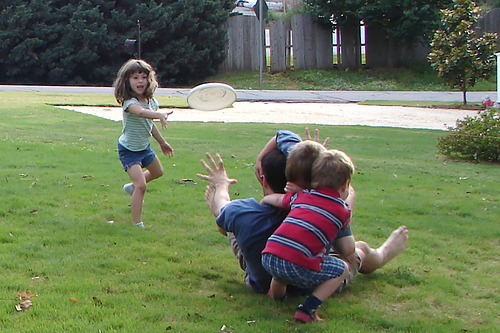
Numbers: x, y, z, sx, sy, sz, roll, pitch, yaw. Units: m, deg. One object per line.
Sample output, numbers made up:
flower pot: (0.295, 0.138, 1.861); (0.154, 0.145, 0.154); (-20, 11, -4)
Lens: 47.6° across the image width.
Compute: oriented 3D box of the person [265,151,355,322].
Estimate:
person: (0.666, 0.722, 6.361); (0.909, 1.788, 1.072); (18, -4, -22)

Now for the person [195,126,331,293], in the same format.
person: (-0.012, 0.425, 6.855); (1.308, 1.210, 1.896); (-3, 11, -2)
